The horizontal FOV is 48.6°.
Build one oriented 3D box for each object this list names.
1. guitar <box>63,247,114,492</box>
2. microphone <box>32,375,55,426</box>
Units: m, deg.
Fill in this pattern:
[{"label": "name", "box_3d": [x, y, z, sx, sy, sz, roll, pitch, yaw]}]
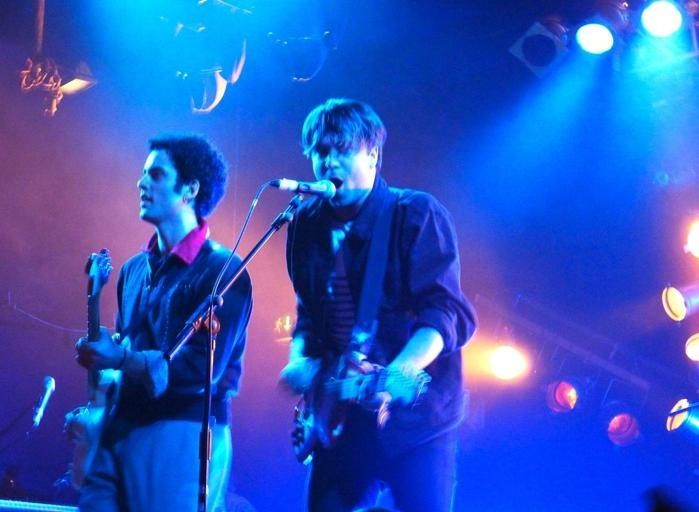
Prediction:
[{"label": "guitar", "box_3d": [-1.649, 0.730, 4.920, 0.146, 0.529, 1.451, 1, -80, -30]}, {"label": "microphone", "box_3d": [-2.491, 1.185, 6.360, 0.115, 0.480, 0.122, 7, -8, 28]}]
